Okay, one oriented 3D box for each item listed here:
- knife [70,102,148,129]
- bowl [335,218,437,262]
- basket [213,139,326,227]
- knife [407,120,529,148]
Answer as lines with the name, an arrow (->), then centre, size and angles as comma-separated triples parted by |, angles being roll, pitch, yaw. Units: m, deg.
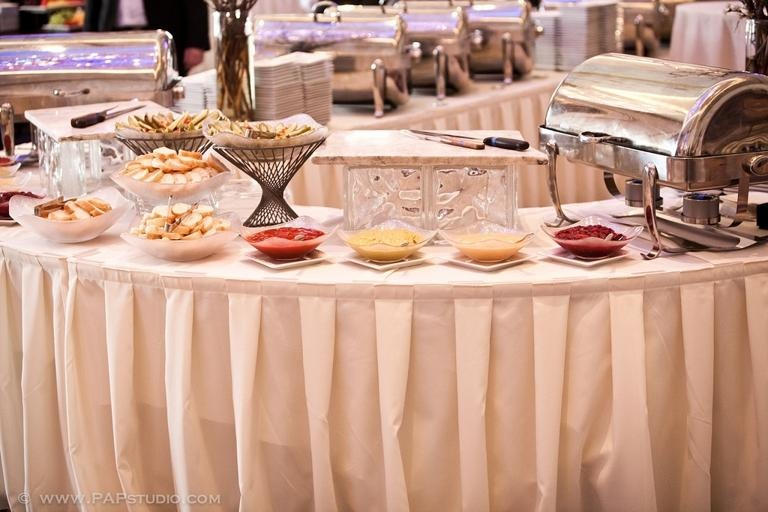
knife -> -1.062, -0.539, 2.719 | 0.076, 0.038, 0.353 | -4, 12, 22
bowl -> 0.010, -0.045, 2.098 | 0.194, 0.056, 0.160 | -3, 12, -5
basket -> -0.382, -0.231, 2.392 | 0.324, 0.235, 0.343 | 0, -4, -24
knife -> 0.231, -0.446, 2.453 | 0.124, 0.048, 0.590 | 8, 4, -44
